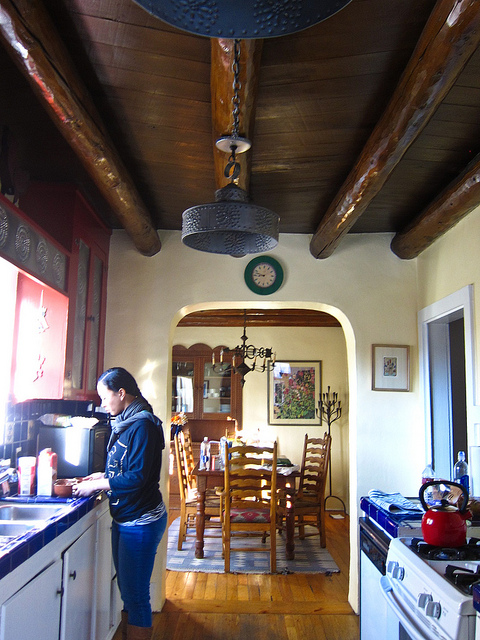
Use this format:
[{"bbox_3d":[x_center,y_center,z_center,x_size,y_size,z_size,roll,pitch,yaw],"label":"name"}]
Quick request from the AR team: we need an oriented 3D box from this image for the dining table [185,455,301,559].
[{"bbox_3d":[0.038,1.792,4.902,0.985,1.056,1.108,1,-10,-4],"label":"dining table"}]

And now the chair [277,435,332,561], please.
[{"bbox_3d":[0.657,1.896,4.978,0.746,1.064,0.752,7,-16,-40],"label":"chair"}]

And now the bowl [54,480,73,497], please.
[{"bbox_3d":[-0.916,0.866,2.355,0.083,0.061,0.184,7,-13,-27],"label":"bowl"}]

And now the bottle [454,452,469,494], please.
[{"bbox_3d":[1.199,0.818,2.481,0.070,0.195,0.288,-4,-12,25],"label":"bottle"}]

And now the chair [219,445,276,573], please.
[{"bbox_3d":[0.094,1.704,4.215,0.539,1.096,0.457,0,-7,0],"label":"chair"}]

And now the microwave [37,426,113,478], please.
[{"bbox_3d":[-1.109,0.834,2.798,0.318,0.300,0.467,10,-24,-35],"label":"microwave"}]
